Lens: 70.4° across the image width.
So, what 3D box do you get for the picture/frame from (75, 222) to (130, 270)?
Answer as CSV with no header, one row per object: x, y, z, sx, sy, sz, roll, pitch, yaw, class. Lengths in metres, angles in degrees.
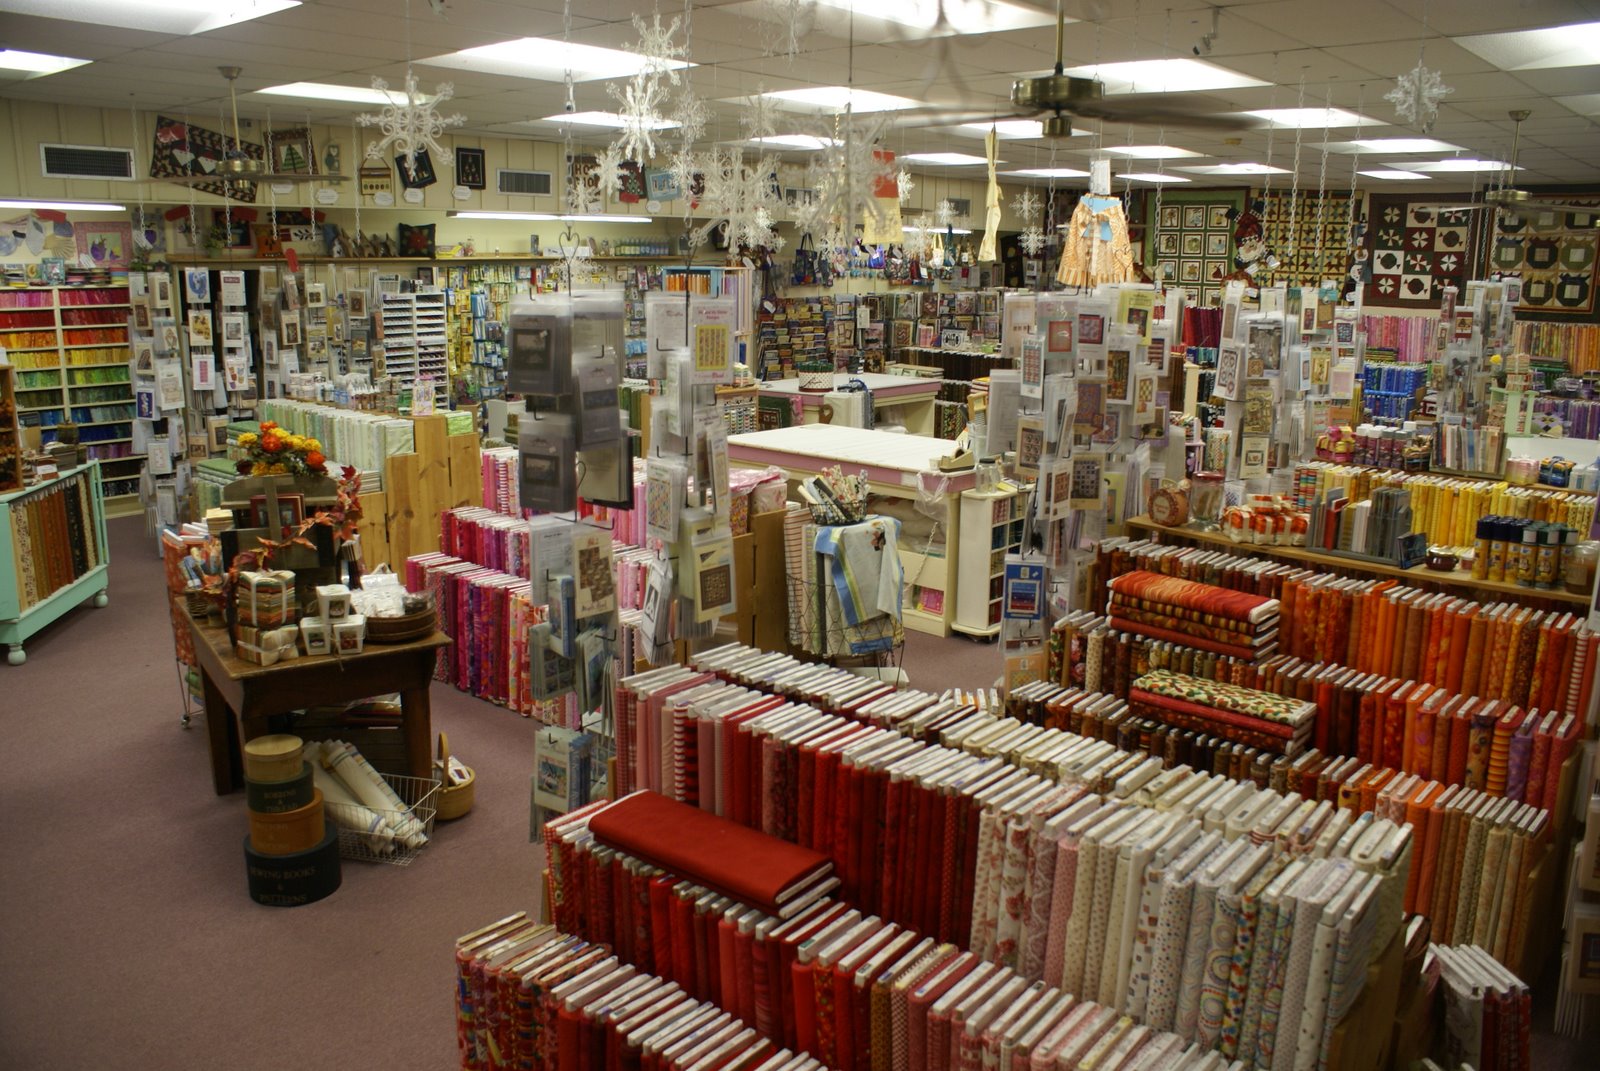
-7.885,-3.258,12.766,0.544,0.555,0.054,-2,5,-35,picture/frame

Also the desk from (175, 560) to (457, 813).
-3.181,0.434,7.376,1.177,1.095,2.165,-5,9,-35,desk

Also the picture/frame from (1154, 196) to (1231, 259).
7.379,-5.731,21.098,1.105,0.958,0.043,19,27,41,picture/frame

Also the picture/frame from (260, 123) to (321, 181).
-4.715,-3.517,10.462,0.404,0.516,0.940,-8,15,-23,picture/frame

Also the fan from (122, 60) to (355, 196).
-5.753,-4.212,11.238,1.788,0.911,1.833,1,5,0,fan

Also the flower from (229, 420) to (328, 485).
-3.464,-0.544,7.530,0.453,0.324,0.447,-4,11,-27,flower
